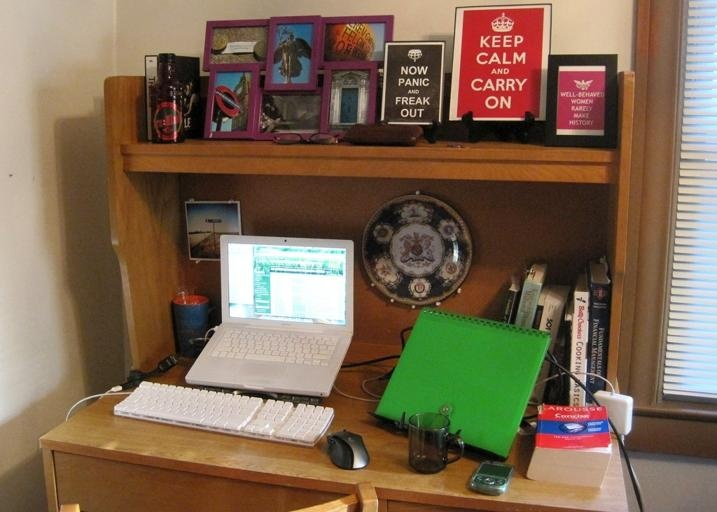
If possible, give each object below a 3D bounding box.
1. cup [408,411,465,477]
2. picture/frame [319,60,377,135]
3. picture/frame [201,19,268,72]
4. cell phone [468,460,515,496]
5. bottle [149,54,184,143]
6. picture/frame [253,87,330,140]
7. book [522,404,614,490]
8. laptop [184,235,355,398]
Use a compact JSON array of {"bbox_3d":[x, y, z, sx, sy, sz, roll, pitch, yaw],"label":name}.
[{"bbox_3d":[0.212,0.512,1.654,0.109,0.123,0.170,-9,14,-39],"label":"cup"},{"bbox_3d":[-0.032,-0.516,1.996,0.179,0.223,0.102,0,14,-2],"label":"picture/frame"},{"bbox_3d":[-0.408,-0.707,2.072,0.203,0.137,0.020,0,0,8],"label":"picture/frame"},{"bbox_3d":[0.344,0.577,1.605,0.094,0.037,0.109,7,15,23],"label":"cell phone"},{"bbox_3d":[-0.616,-0.503,1.960,0.082,0.273,0.131,-12,19,-43],"label":"bottle"},{"bbox_3d":[-0.210,-0.465,2.018,0.204,0.162,0.015,2,-8,3],"label":"picture/frame"},{"bbox_3d":[0.572,0.504,1.654,0.196,0.112,0.197,3,28,25],"label":"book"},{"bbox_3d":[-0.271,0.169,1.918,0.472,0.312,0.394,2,23,10],"label":"laptop"}]
